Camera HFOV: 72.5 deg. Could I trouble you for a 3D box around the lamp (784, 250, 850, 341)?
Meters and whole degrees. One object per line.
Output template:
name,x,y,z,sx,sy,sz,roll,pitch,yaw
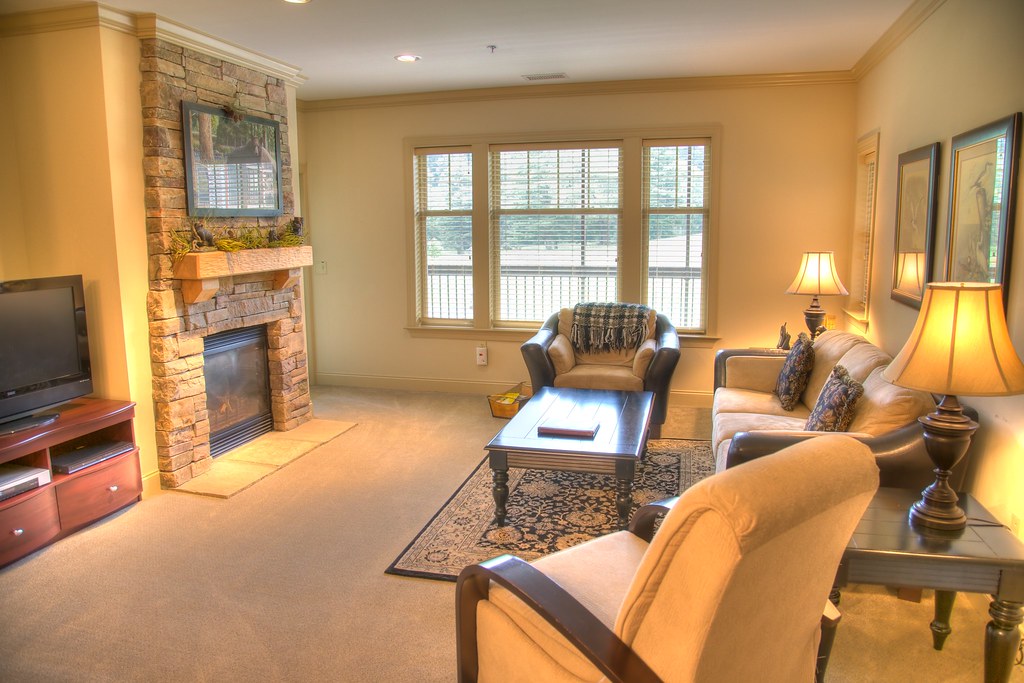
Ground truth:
lamp,2.643,-0.411,6.047,0.433,0.717,0.645,5,11,27

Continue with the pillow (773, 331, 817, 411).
pillow,2.145,0.247,5.297,0.186,0.432,0.563,5,9,21

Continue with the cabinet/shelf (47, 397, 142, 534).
cabinet/shelf,-2.853,0.857,4.719,0.532,0.716,0.773,3,13,9

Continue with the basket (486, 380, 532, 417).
basket,-0.032,0.564,6.731,0.278,0.169,0.399,-6,1,16

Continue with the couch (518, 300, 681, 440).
couch,0.900,0.208,6.642,1.510,1.174,1.185,1,5,14

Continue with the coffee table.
coffee table,0.382,0.654,4.686,0.841,0.419,1.180,1,13,12
